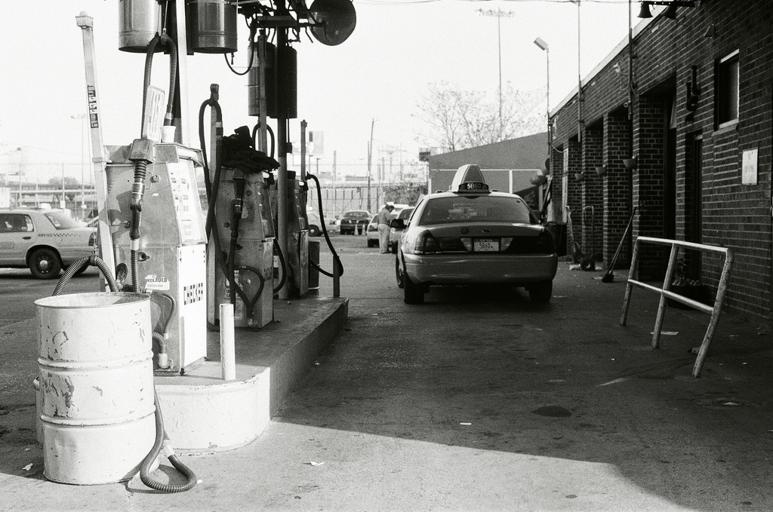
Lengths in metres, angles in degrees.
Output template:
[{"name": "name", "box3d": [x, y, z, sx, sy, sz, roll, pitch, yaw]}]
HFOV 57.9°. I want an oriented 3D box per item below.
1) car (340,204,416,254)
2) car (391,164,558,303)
[{"name": "car", "box3d": [-0.266, -1.236, 31.590, 1.835, 1.449, 4.378, -1, 5, 5]}, {"name": "car", "box3d": [1.589, -0.237, 12.945, 2.666, 2.228, 2.626, 0, 7, 4]}]
